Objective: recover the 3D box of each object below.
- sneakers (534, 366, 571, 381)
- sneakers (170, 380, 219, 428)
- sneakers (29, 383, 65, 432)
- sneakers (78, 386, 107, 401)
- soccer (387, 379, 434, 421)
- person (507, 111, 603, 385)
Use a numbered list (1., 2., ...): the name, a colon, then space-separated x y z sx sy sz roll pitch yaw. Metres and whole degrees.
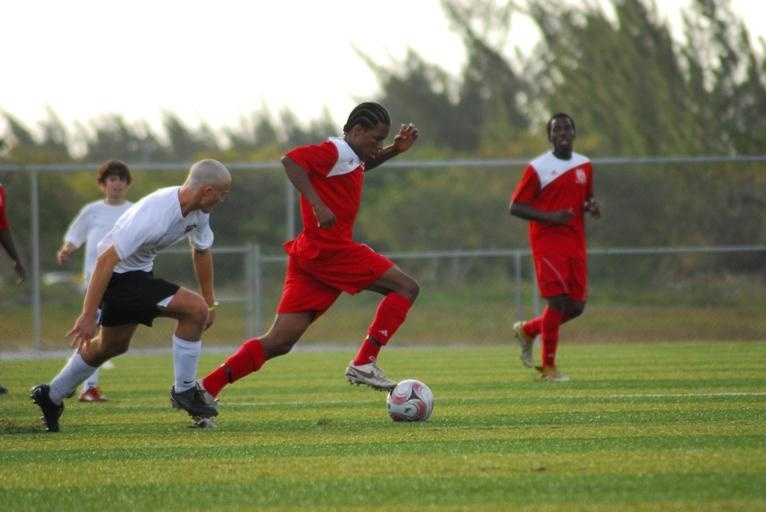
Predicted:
1. sneakers: 1.995 1.399 17.612 0.463 0.184 0.143 -1 -1 -1
2. sneakers: -1.993 1.575 15.943 0.519 0.278 0.172 32 40 4
3. sneakers: -3.545 1.611 15.856 0.307 0.586 0.216 -17 11 5
4. sneakers: -3.321 1.596 17.162 0.298 0.112 0.152 -4 -8 33
5. soccer: 0.293 1.589 16.181 0.542 0.497 0.524 4 0 6
6. person: 2.041 -0.108 17.548 1.009 3.137 0.823 -2 1 7
